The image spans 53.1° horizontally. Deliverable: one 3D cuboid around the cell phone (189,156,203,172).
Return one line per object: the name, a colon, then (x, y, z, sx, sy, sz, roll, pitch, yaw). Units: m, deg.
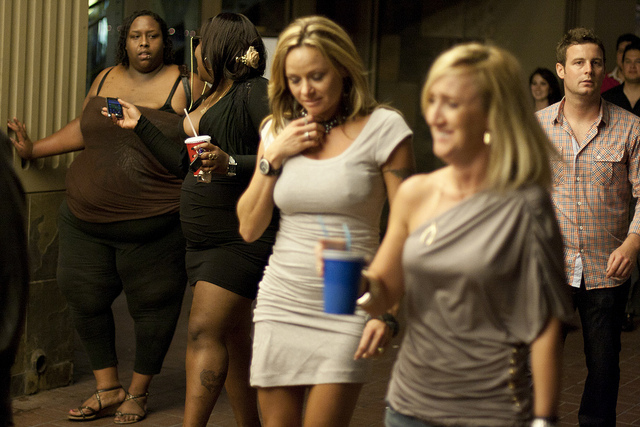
cell phone: (-0.745, -0.291, 3.835, 0.061, 0.099, 0.114, -2, 8, -22)

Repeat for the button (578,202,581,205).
button: (1.771, -0.065, 4.385, 0.016, 0.013, 0.001, 4, 8, 20)

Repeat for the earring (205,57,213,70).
earring: (-0.726, -0.977, 4.177, 0.021, 0.085, 0.090, 9, 46, -34)

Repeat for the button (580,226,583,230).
button: (1.790, 0.101, 4.398, 0.023, 0.022, 0.005, -1, -4, 5)

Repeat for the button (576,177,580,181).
button: (1.767, -0.235, 4.393, 0.025, 0.025, 0.006, -1, -2, 16)

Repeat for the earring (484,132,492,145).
earring: (0.633, -0.280, 2.423, 0.037, 0.037, 0.009, 7, 4, 45)

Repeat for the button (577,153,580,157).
button: (1.777, -0.396, 4.412, 0.014, 0.022, 0.005, -1, 7, -16)

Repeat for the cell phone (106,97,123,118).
cell phone: (-1.481, -0.759, 4.626, 0.103, 0.139, 0.081, -2, 8, -22)

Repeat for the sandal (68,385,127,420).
sandal: (-1.758, 1.503, 5.137, 0.452, 0.183, 0.171, 0, -1, -44)

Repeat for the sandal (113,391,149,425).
sandal: (-1.481, 1.523, 5.032, 0.267, 0.197, 0.199, -1, 7, -18)

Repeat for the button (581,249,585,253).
button: (1.798, 0.261, 4.395, 0.025, 0.020, 0.011, 0, 7, -9)
